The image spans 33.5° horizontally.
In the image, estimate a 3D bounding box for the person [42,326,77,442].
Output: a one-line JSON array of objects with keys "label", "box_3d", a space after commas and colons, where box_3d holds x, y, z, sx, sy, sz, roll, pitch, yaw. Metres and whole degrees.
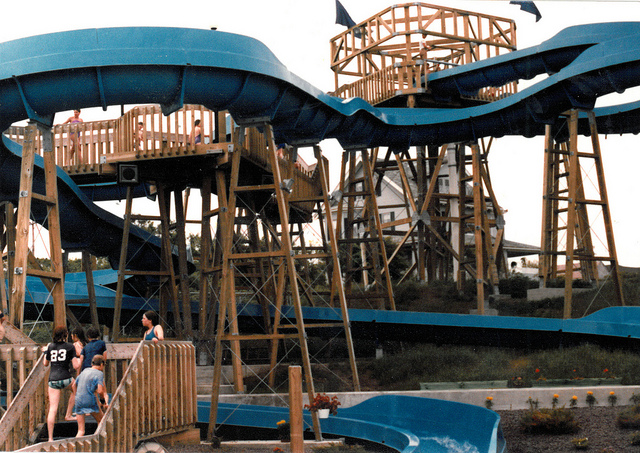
[{"label": "person", "box_3d": [-6.049, 3.608, 24.742, 0.711, 2.531, 0.519, 0, -7, -15]}]

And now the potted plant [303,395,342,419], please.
[{"label": "potted plant", "box_3d": [0.178, 4.639, 27.947, 0.733, 0.489, 0.664, 11, -15, -39]}]

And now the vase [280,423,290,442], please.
[{"label": "vase", "box_3d": [-0.922, 5.431, 28.162, 0.341, 0.576, 0.378, 1, -9, -5]}]

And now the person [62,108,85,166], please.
[{"label": "person", "box_3d": [-7.647, -2.824, 33.256, 0.620, 1.748, 0.803, -13, -11, 31]}]

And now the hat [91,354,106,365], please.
[{"label": "hat", "box_3d": [-5.140, 3.061, 24.596, 0.198, 0.263, 0.253, 5, 18, -3]}]

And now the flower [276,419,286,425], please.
[{"label": "flower", "box_3d": [-1.019, 5.176, 28.420, 0.154, 0.098, 0.216, -2, 0, -3]}]
